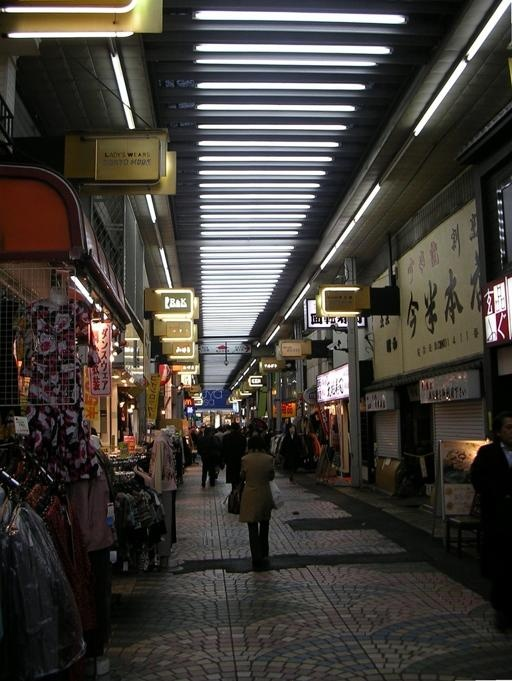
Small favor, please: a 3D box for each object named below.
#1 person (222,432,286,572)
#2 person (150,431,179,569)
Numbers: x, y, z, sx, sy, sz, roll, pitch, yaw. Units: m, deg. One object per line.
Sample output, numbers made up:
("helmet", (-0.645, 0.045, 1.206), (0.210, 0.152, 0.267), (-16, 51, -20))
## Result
("person", (-0.031, 2.030, 7.200), (0.572, 1.669, 0.526), (-1, 10, 3))
("person", (-1.177, 1.921, 6.815), (0.305, 1.598, 1.007), (0, -10, -8))
